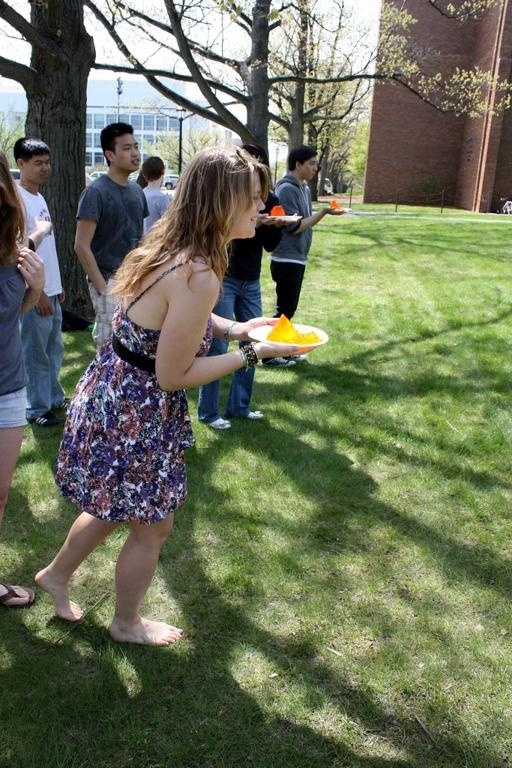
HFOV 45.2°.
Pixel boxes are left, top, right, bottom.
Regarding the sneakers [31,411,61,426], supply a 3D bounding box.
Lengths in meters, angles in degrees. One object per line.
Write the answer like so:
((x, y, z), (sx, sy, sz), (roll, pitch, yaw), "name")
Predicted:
((-1.582, 0.270, 4.666), (0.212, 0.084, 0.099), (-6, 18, 8), "sneakers")

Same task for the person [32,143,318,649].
((-0.342, 0.145, 2.269), (0.626, 1.921, 0.534), (16, 16, 33), "person")
